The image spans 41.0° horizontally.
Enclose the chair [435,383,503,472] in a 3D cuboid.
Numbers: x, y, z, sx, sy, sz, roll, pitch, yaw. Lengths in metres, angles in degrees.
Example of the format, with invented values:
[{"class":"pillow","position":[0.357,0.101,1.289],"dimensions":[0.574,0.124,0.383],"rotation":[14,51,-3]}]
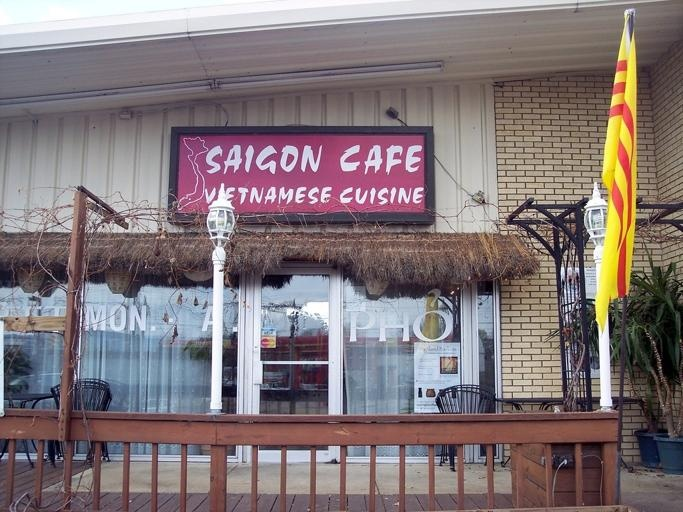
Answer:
[{"class":"chair","position":[1.638,2.279,12.060],"dimensions":[0.988,1.264,0.913],"rotation":[1,-6,0]}]

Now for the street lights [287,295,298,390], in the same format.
[{"class":"street lights","position":[-0.652,1.183,12.230],"dimensions":[0.125,1.189,0.032],"rotation":[-1,-9,11]}]

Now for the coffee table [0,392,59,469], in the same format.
[{"class":"coffee table","position":[-4.148,2.263,11.997],"dimensions":[0.634,0.974,0.996],"rotation":[3,-10,-18]}]

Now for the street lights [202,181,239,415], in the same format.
[{"class":"street lights","position":[-1.408,0.466,10.504],"dimensions":[0.297,2.661,0.440],"rotation":[2,-9,-9]}]

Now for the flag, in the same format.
[{"class":"flag","position":[2.935,-0.892,9.580],"dimensions":[0.282,3.295,0.690],"rotation":[7,-11,-35]}]
